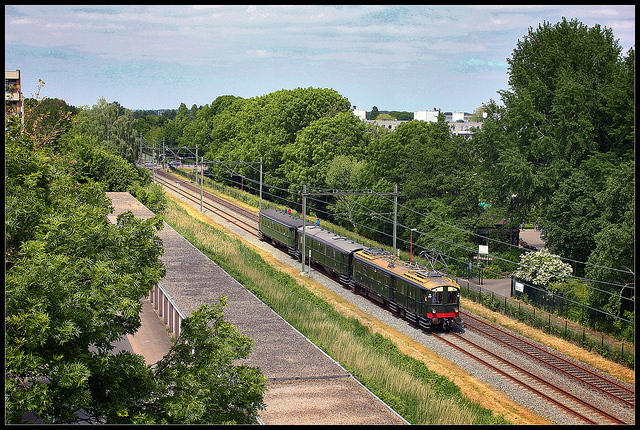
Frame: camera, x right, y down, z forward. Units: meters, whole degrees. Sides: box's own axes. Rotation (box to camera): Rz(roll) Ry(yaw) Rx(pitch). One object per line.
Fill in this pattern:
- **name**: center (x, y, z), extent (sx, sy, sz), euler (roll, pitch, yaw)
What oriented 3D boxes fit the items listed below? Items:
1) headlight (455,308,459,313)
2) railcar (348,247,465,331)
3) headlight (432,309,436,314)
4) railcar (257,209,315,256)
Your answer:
- **headlight**: center (8.934, 6.215, 46.826), extent (0.267, 0.285, 0.074), euler (1, -2, -11)
- **railcar**: center (5.712, 4.994, 51.457), extent (2.725, 3.886, 11.698), euler (-4, 11, -26)
- **headlight**: center (7.410, 6.246, 46.555), extent (0.291, 0.310, 0.071), euler (1, -2, -10)
- **railcar**: center (-3.498, 1.628, 69.724), extent (2.450, 3.075, 9.113), euler (0, 10, -26)
